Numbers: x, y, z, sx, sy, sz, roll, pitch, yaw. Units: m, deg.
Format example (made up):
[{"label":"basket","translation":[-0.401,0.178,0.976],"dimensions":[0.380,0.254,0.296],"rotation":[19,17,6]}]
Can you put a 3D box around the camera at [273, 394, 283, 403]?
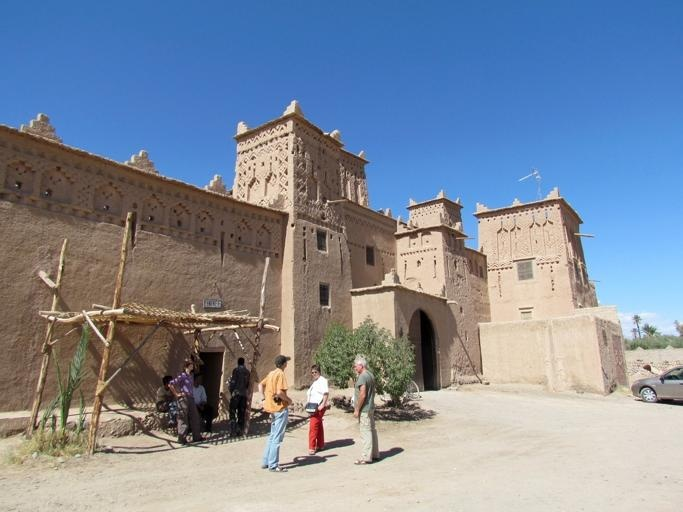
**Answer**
[{"label":"camera","translation":[-1.175,2.644,8.352],"dimensions":[0.127,0.081,0.158],"rotation":[5,-1,-14]}]

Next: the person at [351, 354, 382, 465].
[{"label":"person","translation":[0.495,3.076,8.936],"dimensions":[0.430,2.074,0.681],"rotation":[0,-9,4]}]

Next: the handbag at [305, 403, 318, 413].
[{"label":"handbag","translation":[-0.606,3.071,9.138],"dimensions":[0.145,0.209,0.392],"rotation":[8,-12,-39]}]

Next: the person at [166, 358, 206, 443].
[{"label":"person","translation":[-3.619,3.391,10.492],"dimensions":[0.601,1.831,0.837],"rotation":[-6,-11,36]}]

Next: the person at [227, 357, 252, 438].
[{"label":"person","translation":[-2.645,3.610,11.686],"dimensions":[0.529,1.849,0.637],"rotation":[3,-9,-13]}]
